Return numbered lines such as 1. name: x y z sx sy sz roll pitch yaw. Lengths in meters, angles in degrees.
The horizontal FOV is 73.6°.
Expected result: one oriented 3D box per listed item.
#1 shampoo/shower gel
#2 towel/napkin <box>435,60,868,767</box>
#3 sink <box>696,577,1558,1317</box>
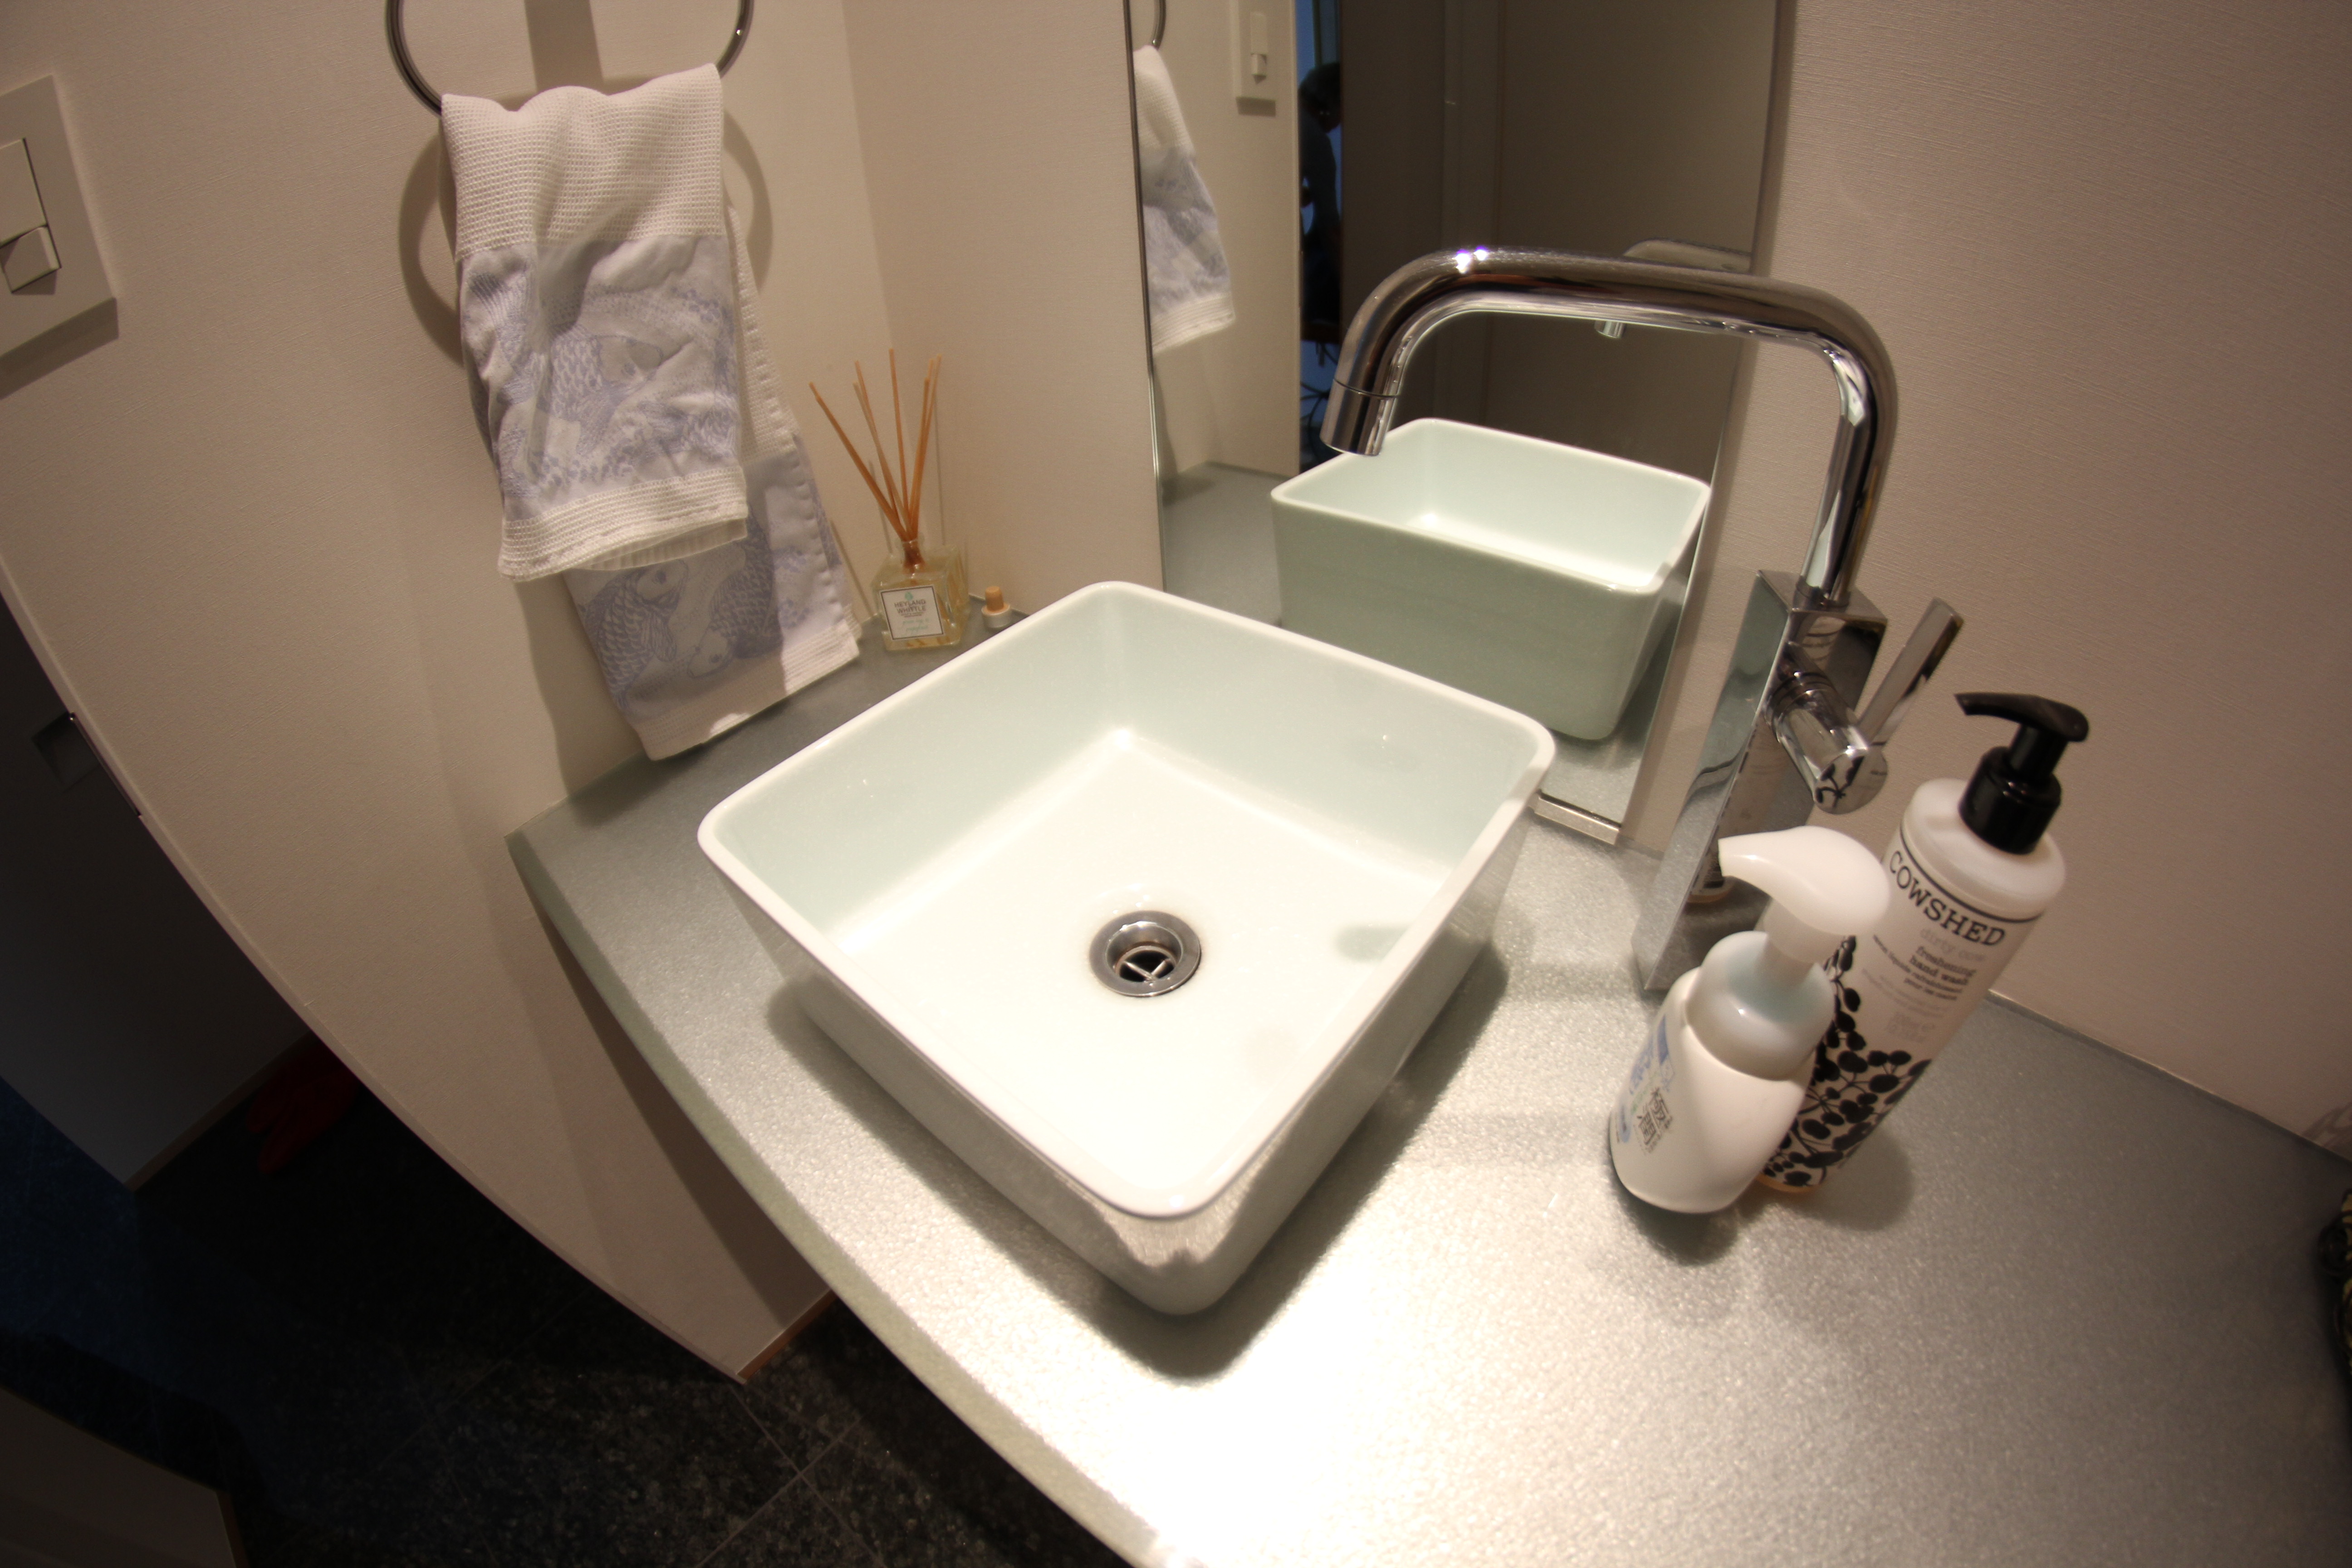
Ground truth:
1. shampoo/shower gel: 0.524 0.132 1.103 0.108 0.383 0.169 26 46 29
2. towel/napkin: -0.490 -0.319 1.452 0.336 0.598 0.211 -25 45 -27
3. sink: -0.031 0.114 1.324 0.593 0.208 0.598 25 48 30
